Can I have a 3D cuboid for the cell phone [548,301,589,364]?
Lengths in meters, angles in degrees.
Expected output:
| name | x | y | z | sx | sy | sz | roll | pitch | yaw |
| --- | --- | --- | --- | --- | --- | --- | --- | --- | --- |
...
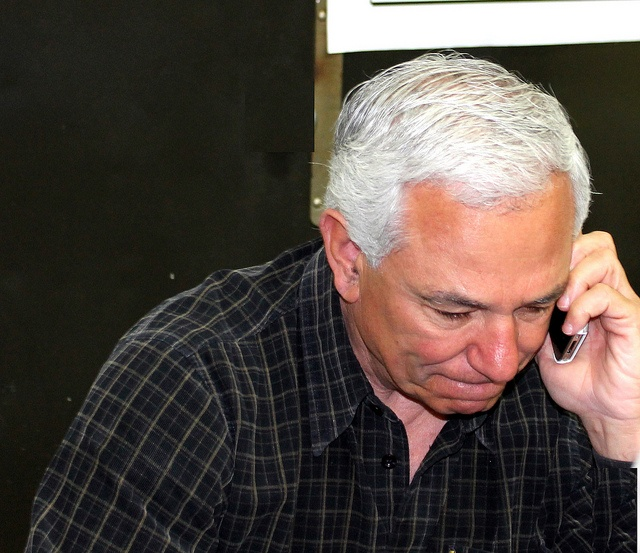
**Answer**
| name | x | y | z | sx | sy | sz | roll | pitch | yaw |
| --- | --- | --- | --- | --- | --- | --- | --- | --- | --- |
| cell phone | 0.655 | 0.148 | 2.107 | 0.031 | 0.140 | 0.132 | 1 | 28 | -25 |
